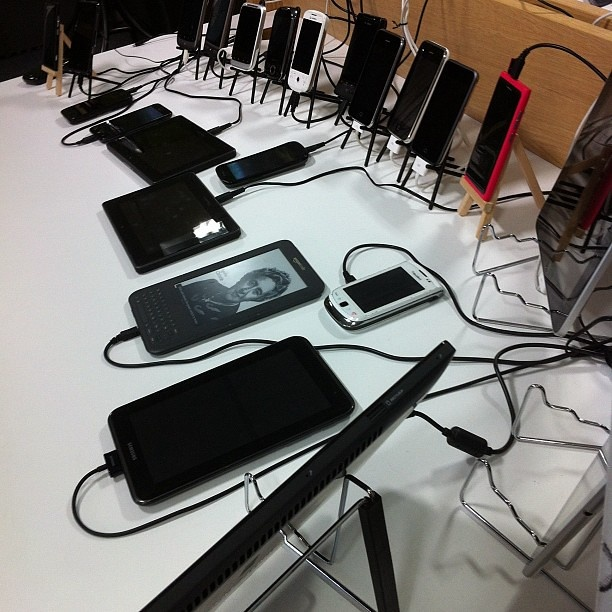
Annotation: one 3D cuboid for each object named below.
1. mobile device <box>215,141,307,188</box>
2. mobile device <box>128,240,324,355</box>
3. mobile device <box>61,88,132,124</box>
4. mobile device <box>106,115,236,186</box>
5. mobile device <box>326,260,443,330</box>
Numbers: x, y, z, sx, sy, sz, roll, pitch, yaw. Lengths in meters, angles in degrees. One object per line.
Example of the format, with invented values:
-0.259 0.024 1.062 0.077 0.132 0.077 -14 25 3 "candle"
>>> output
-0.095 -0.301 1.175 0.190 0.026 0.091 -20 60 -12 "mobile device"
-0.128 -0.017 0.893 0.280 0.036 0.152 -19 48 -17 "mobile device"
-0.533 -0.508 1.444 0.188 0.026 0.085 -23 58 -15 "mobile device"
-0.303 -0.350 1.227 0.195 0.030 0.220 -31 51 -27 "mobile device"
0.117 -0.019 0.874 0.170 0.035 0.090 -21 51 -12 "mobile device"
